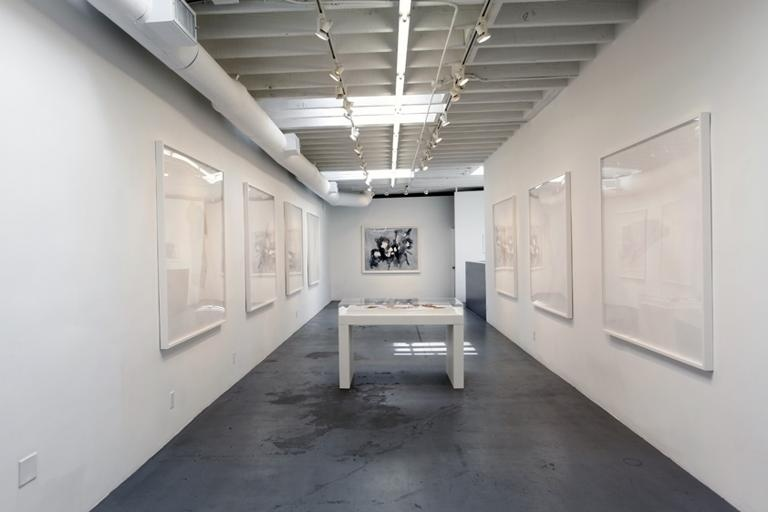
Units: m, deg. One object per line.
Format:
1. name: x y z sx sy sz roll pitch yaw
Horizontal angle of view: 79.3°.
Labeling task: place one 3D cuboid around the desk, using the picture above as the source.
1. desk: 0.239 1.155 6.760 1.742 0.968 1.734 -1 8 3

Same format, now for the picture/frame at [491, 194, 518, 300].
1. picture/frame: 2.280 -0.127 8.542 0.074 1.808 1.752 -6 -1 21

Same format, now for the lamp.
1. lamp: 0.051 -2.109 7.266 1.687 1.535 5.958 -1 8 -3
